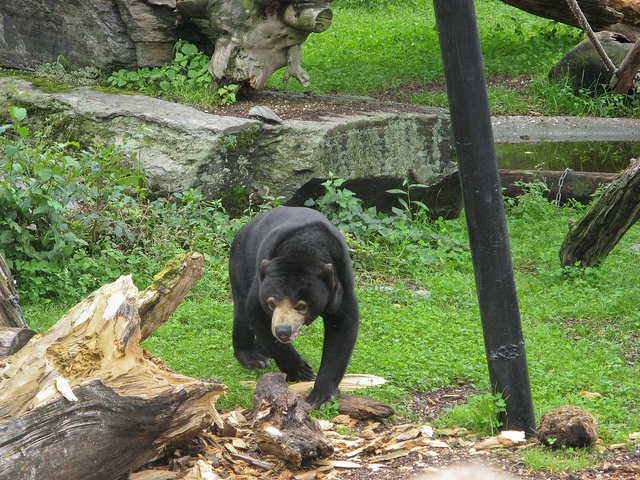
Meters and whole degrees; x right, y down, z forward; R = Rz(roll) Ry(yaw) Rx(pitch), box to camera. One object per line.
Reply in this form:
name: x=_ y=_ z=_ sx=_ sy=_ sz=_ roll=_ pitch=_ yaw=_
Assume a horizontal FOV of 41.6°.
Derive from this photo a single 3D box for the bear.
bear: x=-0.197 y=0.467 z=6.537 sx=0.869 sy=1.322 sz=1.254 roll=-5 pitch=18 yaw=-15
